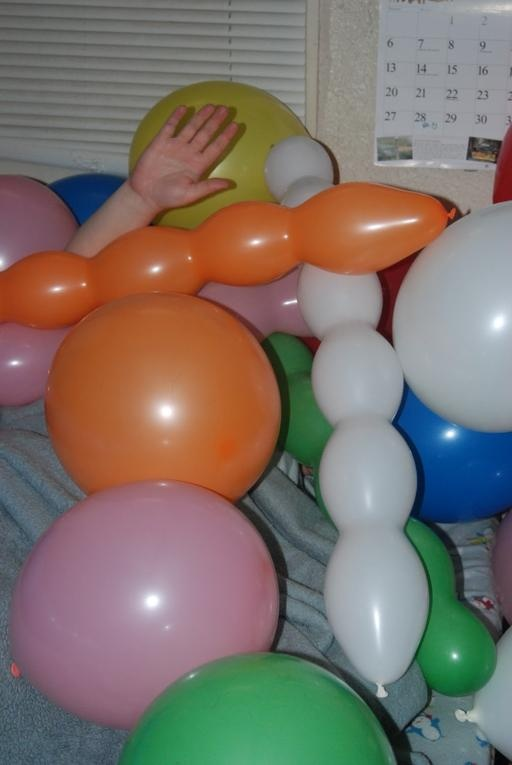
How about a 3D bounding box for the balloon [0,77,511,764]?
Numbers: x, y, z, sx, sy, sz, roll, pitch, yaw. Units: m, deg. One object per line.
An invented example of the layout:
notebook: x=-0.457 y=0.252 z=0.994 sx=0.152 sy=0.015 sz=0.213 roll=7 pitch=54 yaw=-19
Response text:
balloon: x=-0.016 y=-0.054 z=0.784 sx=0.488 sy=0.283 sz=0.831 roll=19 pitch=60 yaw=-23
